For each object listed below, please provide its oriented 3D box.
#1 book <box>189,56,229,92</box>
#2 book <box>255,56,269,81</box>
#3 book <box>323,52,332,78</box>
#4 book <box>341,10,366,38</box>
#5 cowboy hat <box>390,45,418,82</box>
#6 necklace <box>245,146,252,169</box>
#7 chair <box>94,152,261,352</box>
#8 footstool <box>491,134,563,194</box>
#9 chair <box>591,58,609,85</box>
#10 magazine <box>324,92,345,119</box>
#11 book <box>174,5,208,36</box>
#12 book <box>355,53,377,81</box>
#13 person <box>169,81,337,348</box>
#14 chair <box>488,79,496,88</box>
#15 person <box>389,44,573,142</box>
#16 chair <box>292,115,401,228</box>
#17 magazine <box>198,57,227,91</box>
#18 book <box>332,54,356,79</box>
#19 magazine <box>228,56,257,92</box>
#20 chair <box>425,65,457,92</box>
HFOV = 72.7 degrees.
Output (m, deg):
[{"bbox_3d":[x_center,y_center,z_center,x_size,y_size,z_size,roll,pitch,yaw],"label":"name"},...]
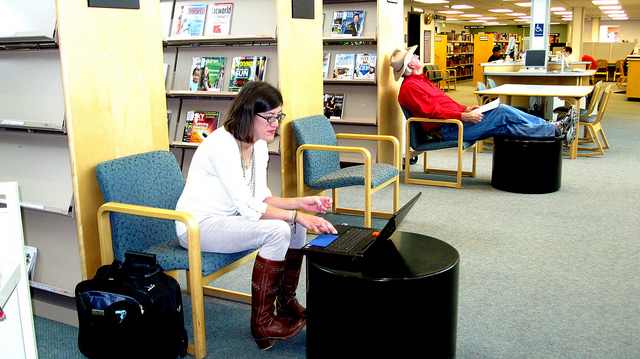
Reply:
[{"bbox_3d":[-1.313,-1.273,5.205,0.484,0.467,0.055,9,-5,16],"label":"book"},{"bbox_3d":[-0.671,-1.295,4.970,0.149,0.267,0.123,1,11,8],"label":"book"},{"bbox_3d":[0.106,-1.644,6.158,0.116,0.356,0.145,0,11,2],"label":"book"},{"bbox_3d":[0.442,-2.171,5.931,0.316,0.360,0.160,3,11,14],"label":"book"},{"bbox_3d":[1.101,-1.594,5.893,0.335,0.451,0.288,6,13,30],"label":"cowboy hat"},{"bbox_3d":[-0.507,-0.155,3.086,0.017,0.149,0.062,8,13,35],"label":"necklace"},{"bbox_3d":[-0.950,0.379,3.644,1.394,1.498,1.360,4,11,24],"label":"chair"},{"bbox_3d":[2.528,-0.187,5.332,0.777,0.698,0.250,4,12,21],"label":"footstool"},{"bbox_3d":[13.293,-5.237,20.516,0.561,0.997,1.363,7,13,31],"label":"chair"},{"bbox_3d":[0.193,-1.070,6.225,0.304,0.361,0.186,2,11,9],"label":"magazine"},{"bbox_3d":[-1.550,-1.939,5.257,0.491,0.444,0.047,8,-8,32],"label":"book"},{"bbox_3d":[0.620,-1.556,5.914,0.297,0.382,0.241,2,11,12],"label":"book"},{"bbox_3d":[-0.436,0.228,3.014,0.994,1.783,0.589,5,12,25],"label":"person"},{"bbox_3d":[3.083,-1.757,7.861,0.167,0.146,0.141,-6,23,15],"label":"chair"},{"bbox_3d":[1.902,-1.108,5.579,2.030,1.229,0.789,1,11,7],"label":"person"},{"bbox_3d":[0.446,-0.169,4.980,1.382,1.446,1.263,4,12,28],"label":"chair"},{"bbox_3d":[-1.281,-1.269,5.193,0.457,0.549,0.068,3,-6,21],"label":"magazine"},{"bbox_3d":[0.339,-1.589,6.046,0.403,0.407,0.057,9,-5,28],"label":"book"},{"bbox_3d":[-0.923,-1.240,5.033,0.396,0.415,0.221,6,13,29],"label":"magazine"},{"bbox_3d":[4.349,-3.709,15.726,0.736,0.861,2.205,6,18,24],"label":"chair"}]
